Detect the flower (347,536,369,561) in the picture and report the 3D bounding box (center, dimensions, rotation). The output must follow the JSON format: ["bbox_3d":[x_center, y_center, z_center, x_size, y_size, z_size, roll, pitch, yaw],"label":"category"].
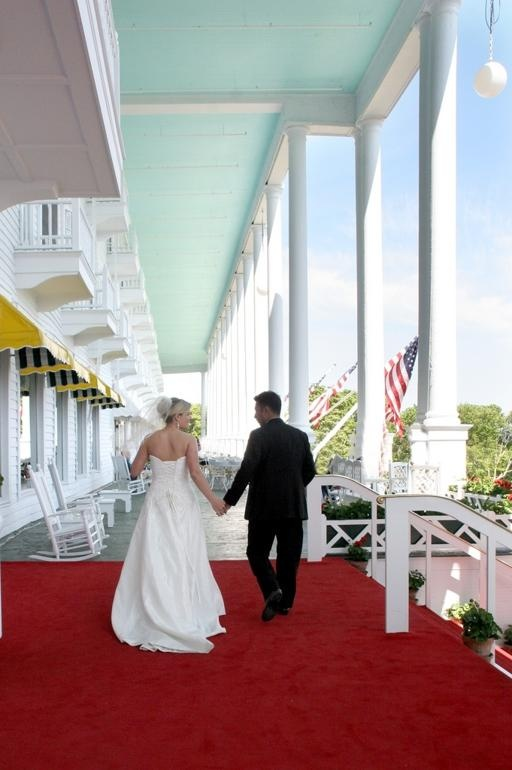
[{"bbox_3d":[1.081,1.820,6.404,0.271,0.227,0.222,3,-5,28],"label":"flower"}]

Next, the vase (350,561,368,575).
[{"bbox_3d":[1.107,1.944,6.248,0.172,0.129,0.181,3,-5,-12],"label":"vase"}]
